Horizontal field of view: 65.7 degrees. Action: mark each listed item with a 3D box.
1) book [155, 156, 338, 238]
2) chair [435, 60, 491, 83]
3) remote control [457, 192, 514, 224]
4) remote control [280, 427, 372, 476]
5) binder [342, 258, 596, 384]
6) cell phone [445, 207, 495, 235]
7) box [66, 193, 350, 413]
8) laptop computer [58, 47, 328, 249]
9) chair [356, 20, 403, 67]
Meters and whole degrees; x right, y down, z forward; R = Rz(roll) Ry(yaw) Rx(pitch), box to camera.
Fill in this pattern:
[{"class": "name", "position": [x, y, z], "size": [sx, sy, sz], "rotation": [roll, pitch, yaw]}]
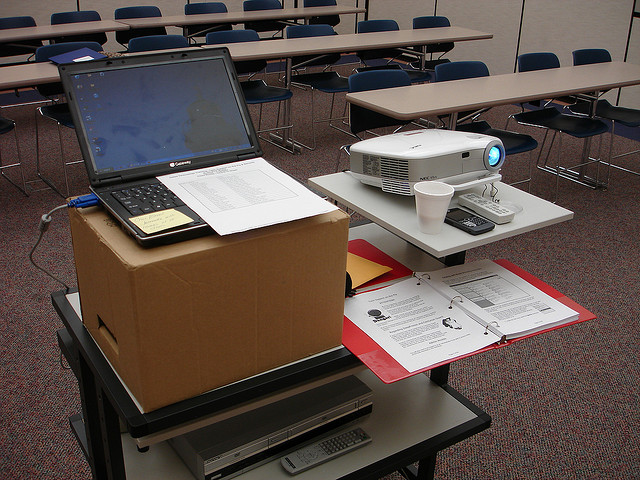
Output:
[{"class": "book", "position": [-0.167, -0.103, 1.094], "size": [0.270, 0.074, 0.293], "rotation": [-19, 31, -30]}, {"class": "chair", "position": [1.173, -1.386, 4.087], "size": [0.244, 0.127, 0.557], "rotation": [19, 33, 35]}, {"class": "remote control", "position": [0.549, -0.099, 1.653], "size": [0.204, 0.051, 0.165], "rotation": [-11, 23, -30]}, {"class": "remote control", "position": [0.010, 0.592, 1.387], "size": [0.317, 0.042, 0.079], "rotation": [-11, 38, -22]}, {"class": "binder", "position": [0.360, 0.200, 1.393], "size": [0.700, 0.055, 0.359], "rotation": [-13, 28, -22]}, {"class": "cell phone", "position": [0.477, -0.058, 1.595], "size": [0.080, 0.024, 0.129], "rotation": [-23, 39, -32]}, {"class": "box", "position": [-0.249, 0.083, 1.133], "size": [0.531, 0.387, 0.369], "rotation": [-19, 34, -27]}, {"class": "laptop computer", "position": [-0.378, -0.243, 1.197], "size": [0.633, 0.315, 0.542], "rotation": [-20, 44, -33]}, {"class": "chair", "position": [0.696, -2.329, 5.840], "size": [0.439, 0.455, 0.720], "rotation": [7, 29, 16]}]
